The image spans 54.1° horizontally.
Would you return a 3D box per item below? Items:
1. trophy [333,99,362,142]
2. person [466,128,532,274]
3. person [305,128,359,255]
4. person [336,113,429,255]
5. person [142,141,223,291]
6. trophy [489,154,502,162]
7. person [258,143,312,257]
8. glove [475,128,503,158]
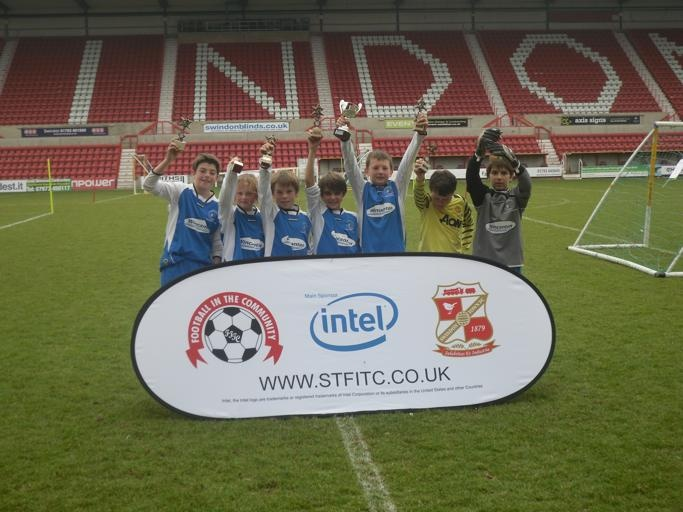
[{"bbox_3d":[0.049,-1.204,5.925,0.206,0.364,0.192,12,-9,12],"label":"trophy"},{"bbox_3d":[1.448,-0.148,6.073,0.546,1.877,0.560,-2,-6,27],"label":"person"},{"bbox_3d":[-0.092,-0.534,5.672,0.450,1.087,0.490,-3,23,1],"label":"person"},{"bbox_3d":[0.390,-0.351,5.786,0.800,1.769,0.452,-4,-26,7],"label":"person"},{"bbox_3d":[-1.340,-0.402,5.815,0.674,1.268,0.550,-10,23,-15],"label":"person"},{"bbox_3d":[1.372,-0.881,5.962,0.069,0.039,0.102,0,-5,9],"label":"trophy"},{"bbox_3d":[-0.491,-0.451,5.685,0.422,0.883,0.382,-3,23,1],"label":"person"},{"bbox_3d":[1.263,-0.970,5.805,0.104,0.276,0.172,-21,56,-42],"label":"glove"}]
